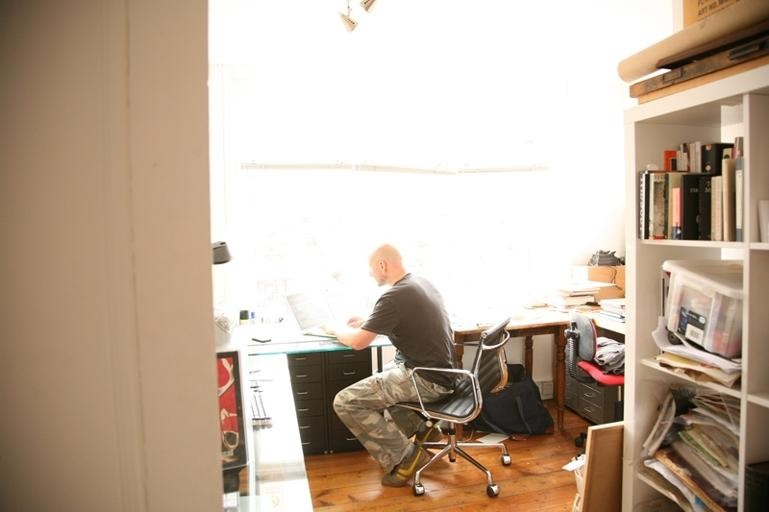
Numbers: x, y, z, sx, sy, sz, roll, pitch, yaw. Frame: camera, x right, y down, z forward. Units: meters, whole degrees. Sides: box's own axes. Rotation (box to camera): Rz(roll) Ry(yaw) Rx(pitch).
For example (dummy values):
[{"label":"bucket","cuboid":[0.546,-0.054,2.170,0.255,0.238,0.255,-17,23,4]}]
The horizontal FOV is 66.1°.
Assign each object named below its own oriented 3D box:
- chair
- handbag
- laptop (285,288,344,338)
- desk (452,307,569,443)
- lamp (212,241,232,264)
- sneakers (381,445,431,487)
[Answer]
[{"label":"chair","cuboid":[0.432,0.896,3.884,0.936,1.134,0.959,1,0,17]},{"label":"handbag","cuboid":[0.925,1.077,4.205,0.478,0.333,0.337,2,-11,1]},{"label":"laptop","cuboid":[-0.454,0.382,3.888,0.287,0.192,0.318,7,7,32]},{"label":"desk","cuboid":[0.861,0.780,4.267,0.818,0.783,0.874,-3,-2,34]},{"label":"lamp","cuboid":[-0.720,-0.010,2.637,0.075,0.118,0.201,-5,12,-15]},{"label":"sneakers","cuboid":[0.139,1.261,3.595,0.327,0.150,0.139,-35,24,-14]}]
